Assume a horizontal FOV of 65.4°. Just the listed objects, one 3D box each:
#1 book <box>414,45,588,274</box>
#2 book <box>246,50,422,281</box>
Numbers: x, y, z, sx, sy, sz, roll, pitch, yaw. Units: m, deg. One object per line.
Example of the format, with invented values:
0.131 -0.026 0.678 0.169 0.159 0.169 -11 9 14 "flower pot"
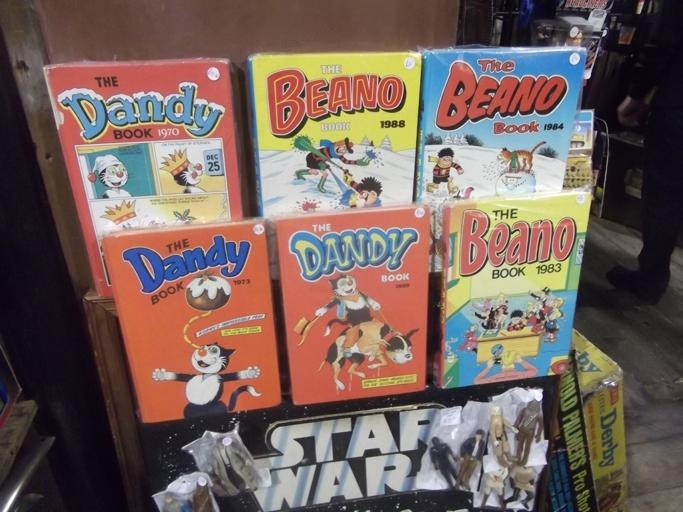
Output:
0.423 -0.263 1.474 0.452 0.572 0.159 -8 33 -11 "book"
-0.020 -0.244 1.384 0.582 0.539 0.185 -4 26 -5 "book"
